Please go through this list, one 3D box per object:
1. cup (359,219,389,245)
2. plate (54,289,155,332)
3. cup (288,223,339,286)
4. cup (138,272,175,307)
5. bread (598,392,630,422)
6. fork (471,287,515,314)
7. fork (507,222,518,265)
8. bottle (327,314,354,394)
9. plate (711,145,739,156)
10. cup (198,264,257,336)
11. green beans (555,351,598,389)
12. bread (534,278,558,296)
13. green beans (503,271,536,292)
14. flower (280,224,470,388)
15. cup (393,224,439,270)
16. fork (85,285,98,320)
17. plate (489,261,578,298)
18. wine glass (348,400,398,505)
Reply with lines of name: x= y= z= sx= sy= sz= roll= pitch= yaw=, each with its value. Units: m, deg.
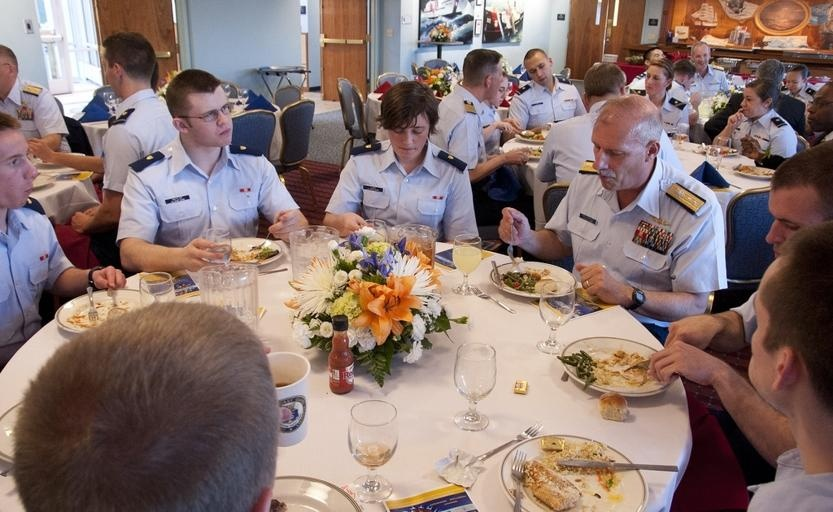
cup: x=-0.195 y=-0.111 z=2.735 sx=0.118 sy=0.115 sz=0.119 roll=1 pitch=8 yaw=0
plate: x=-1.312 y=0.186 z=2.489 sx=0.306 sy=0.052 sz=0.316 roll=-9 pitch=6 yaw=-41
cup: x=-0.410 y=0.001 z=2.369 sx=0.222 sy=0.256 sz=0.253 roll=0 pitch=10 yaw=-5
cup: x=-0.914 y=0.118 z=2.089 sx=0.115 sy=0.120 sz=0.117 roll=1 pitch=-5 yaw=0
bread: x=0.677 y=0.507 z=1.999 sx=0.123 sy=0.069 sz=0.073 roll=-5 pitch=23 yaw=-17
fork: x=0.325 y=0.193 z=2.527 sx=0.030 sy=0.026 sz=0.197 roll=-32 pitch=37 yaw=-22
fork: x=0.467 y=-0.069 z=2.925 sx=0.041 sy=0.205 sz=0.029 roll=-8 pitch=-16 yaw=43
bottle: x=-0.259 y=0.335 z=2.043 sx=0.094 sy=0.267 sz=0.094 roll=1 pitch=19 yaw=0
plate: x=2.457 y=-0.846 z=4.754 sx=0.171 sy=0.076 sz=0.197 roll=0 pitch=7 yaw=-4
cup: x=-0.644 y=0.151 z=2.265 sx=0.255 sy=0.294 sz=0.257 roll=0 pitch=3 yaw=0
green beans: x=0.586 y=0.426 z=2.163 sx=0.102 sy=0.035 sz=0.107 roll=-13 pitch=42 yaw=-41
bread: x=0.531 y=0.128 z=2.431 sx=0.076 sy=0.048 sz=0.075 roll=2 pitch=7 yaw=9
green beans: x=0.454 y=0.110 z=2.613 sx=0.095 sy=0.029 sz=0.095 roll=20 pitch=31 yaw=24
flower: x=-0.167 y=0.148 z=2.128 sx=0.528 sy=0.442 sz=0.527 roll=0 pitch=16 yaw=7
cup: x=-0.004 y=-0.040 z=2.476 sx=0.150 sy=0.209 sz=0.206 roll=0 pitch=4 yaw=6
fork: x=-1.305 y=0.194 z=2.394 sx=0.024 sy=0.022 sz=0.177 roll=-20 pitch=39 yaw=-10
plate: x=0.502 y=0.099 z=2.638 sx=0.207 sy=0.031 sz=0.209 roll=-5 pitch=30 yaw=-11
wine glass: x=-0.129 y=0.578 z=1.767 sx=0.135 sy=0.250 sz=0.159 roll=0 pitch=22 yaw=-4
